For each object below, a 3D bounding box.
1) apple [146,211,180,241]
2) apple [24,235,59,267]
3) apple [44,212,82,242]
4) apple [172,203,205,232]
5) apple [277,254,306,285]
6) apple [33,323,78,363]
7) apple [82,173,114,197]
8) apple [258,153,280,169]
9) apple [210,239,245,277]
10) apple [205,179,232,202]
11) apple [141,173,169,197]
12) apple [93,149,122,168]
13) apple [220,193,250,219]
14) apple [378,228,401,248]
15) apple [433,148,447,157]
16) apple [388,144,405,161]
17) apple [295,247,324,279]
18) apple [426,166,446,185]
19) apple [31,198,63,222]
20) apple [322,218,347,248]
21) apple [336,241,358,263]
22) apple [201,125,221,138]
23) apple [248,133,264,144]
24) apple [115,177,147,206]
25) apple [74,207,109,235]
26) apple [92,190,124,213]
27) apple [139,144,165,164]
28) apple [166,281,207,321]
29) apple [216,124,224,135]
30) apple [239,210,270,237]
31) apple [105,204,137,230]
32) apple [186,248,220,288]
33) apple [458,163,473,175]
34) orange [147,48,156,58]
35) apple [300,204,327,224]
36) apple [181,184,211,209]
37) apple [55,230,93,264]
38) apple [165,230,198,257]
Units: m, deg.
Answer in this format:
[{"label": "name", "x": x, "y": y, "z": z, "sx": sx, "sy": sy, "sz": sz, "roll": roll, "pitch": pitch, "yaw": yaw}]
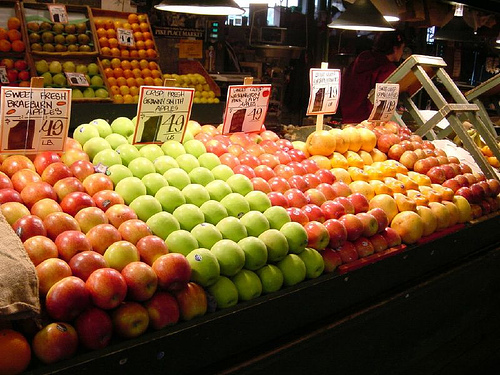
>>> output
[{"label": "apple", "x": -0.381, "y": 0.161, "z": 1.641, "sx": 0.137, "sy": 0.118, "sz": 0.117, "roll": 34, "pitch": -12, "yaw": 13}, {"label": "apple", "x": -0.760, "y": 0.223, "z": 1.293, "sx": 0.077, "sy": 0.092, "sz": 0.076, "roll": -9, "pitch": 14, "yaw": -22}, {"label": "apple", "x": -0.742, "y": 0.141, "z": 1.443, "sx": 0.120, "sy": 0.109, "sz": 0.110, "roll": 24, "pitch": -12, "yaw": 0}, {"label": "apple", "x": -0.296, "y": 0.140, "z": 1.701, "sx": 0.113, "sy": 0.137, "sz": 0.117, "roll": -7, "pitch": 15, "yaw": -13}, {"label": "apple", "x": 0.197, "y": 0.398, "z": 1.767, "sx": 0.101, "sy": 0.124, "sz": 0.108, "roll": -16, "pitch": 18, "yaw": 12}, {"label": "apple", "x": -0.650, "y": 0.516, "z": 1.180, "sx": 0.112, "sy": 0.116, "sz": 0.119, "roll": -17, "pitch": -24, "yaw": 41}, {"label": "apple", "x": -0.741, "y": 0.010, "z": 1.732, "sx": 0.160, "sy": 0.163, "sz": 0.160, "roll": 0, "pitch": -2, "yaw": -28}, {"label": "apple", "x": 0.114, "y": -0.167, "z": 2.196, "sx": 0.112, "sy": 0.098, "sz": 0.096, "roll": 21, "pitch": -18, "yaw": 14}, {"label": "apple", "x": -0.093, "y": 0.305, "z": 1.601, "sx": 0.115, "sy": 0.139, "sz": 0.116, "roll": -25, "pitch": -2, "yaw": 21}, {"label": "apple", "x": -0.165, "y": 0.013, "z": 1.903, "sx": 0.109, "sy": 0.139, "sz": 0.117, "roll": -2, "pitch": 13, "yaw": 16}, {"label": "apple", "x": -0.508, "y": -0.010, "z": 1.798, "sx": 0.092, "sy": 0.112, "sz": 0.095, "roll": 13, "pitch": 18, "yaw": 5}, {"label": "apple", "x": -0.743, "y": -0.152, "z": 1.829, "sx": 0.116, "sy": 0.104, "sz": 0.103, "roll": 10, "pitch": 31, "yaw": -10}, {"label": "apple", "x": -0.075, "y": 0.089, "z": 1.798, "sx": 0.118, "sy": 0.118, "sz": 0.121, "roll": -33, "pitch": -4, "yaw": 25}, {"label": "apple", "x": 0.850, "y": 0.313, "z": 2.234, "sx": 0.110, "sy": 0.139, "sz": 0.111, "roll": -5, "pitch": -12, "yaw": -17}, {"label": "apple", "x": 1.651, "y": -0.303, "z": 3.108, "sx": 0.097, "sy": 0.058, "sz": 0.077, "roll": 26, "pitch": 46, "yaw": 21}, {"label": "apple", "x": 1.153, "y": -0.279, "z": 2.860, "sx": 0.115, "sy": 0.115, "sz": 0.117, "roll": -34, "pitch": 15, "yaw": 6}, {"label": "apple", "x": 0.305, "y": 0.370, "z": 1.821, "sx": 0.140, "sy": 0.172, "sz": 0.146, "roll": -15, "pitch": -14, "yaw": 3}, {"label": "apple", "x": 1.478, "y": -0.096, "z": 2.800, "sx": 0.188, "sy": 0.087, "sz": 0.118, "roll": -6, "pitch": 32, "yaw": -26}, {"label": "apple", "x": -0.832, "y": 0.085, "z": 1.471, "sx": 0.108, "sy": 0.095, "sz": 0.092, "roll": -4, "pitch": -21, "yaw": -8}, {"label": "apple", "x": 0.455, "y": 0.244, "z": 1.883, "sx": 0.131, "sy": 0.160, "sz": 0.130, "roll": 7, "pitch": -12, "yaw": -26}, {"label": "apple", "x": 0.535, "y": 0.357, "z": 1.949, "sx": 0.106, "sy": 0.133, "sz": 0.107, "roll": -17, "pitch": -3, "yaw": -5}, {"label": "apple", "x": -0.266, "y": -0.395, "z": 2.368, "sx": 0.100, "sy": 0.060, "sz": 0.085, "roll": 31, "pitch": 13, "yaw": 22}, {"label": "apple", "x": 0.029, "y": -0.340, "z": 2.454, "sx": 0.076, "sy": 0.100, "sz": 0.086, "roll": -13, "pitch": -10, "yaw": -12}, {"label": "apple", "x": -0.568, "y": 0.010, "z": 1.771, "sx": 0.147, "sy": 0.136, "sz": 0.133, "roll": 4, "pitch": 18, "yaw": 29}, {"label": "apple", "x": -0.648, "y": 0.131, "z": 1.462, "sx": 0.096, "sy": 0.106, "sz": 0.103, "roll": 10, "pitch": -16, "yaw": -14}, {"label": "apple", "x": -0.646, "y": 0.053, "z": 1.601, "sx": 0.100, "sy": 0.097, "sz": 0.098, "roll": -13, "pitch": 67, "yaw": -23}, {"label": "apple", "x": -0.554, "y": -0.198, "z": 1.987, "sx": 0.114, "sy": 0.105, "sz": 0.103, "roll": 14, "pitch": 39, "yaw": 30}, {"label": "apple", "x": -0.269, "y": 0.474, "z": 1.493, "sx": 0.165, "sy": 0.169, "sz": 0.166, "roll": -14, "pitch": -13, "yaw": 34}, {"label": "apple", "x": -0.207, "y": -0.405, "z": 2.457, "sx": 0.027, "sy": 0.059, "sz": 0.057, "roll": 1, "pitch": 8, "yaw": -12}, {"label": "apple", "x": 0.027, "y": 0.173, "z": 1.797, "sx": 0.118, "sy": 0.115, "sz": 0.120, "roll": -32, "pitch": -9, "yaw": 19}, {"label": "apple", "x": -0.567, "y": 0.115, "z": 1.536, "sx": 0.117, "sy": 0.105, "sz": 0.101, "roll": 7, "pitch": -5, "yaw": 44}, {"label": "apple", "x": -0.203, "y": 0.339, "z": 1.485, "sx": 0.101, "sy": 0.101, "sz": 0.120, "roll": -16, "pitch": 53, "yaw": -41}, {"label": "apple", "x": 1.852, "y": -0.156, "z": 3.070, "sx": 0.068, "sy": 0.054, "sz": 0.088, "roll": 7, "pitch": 32, "yaw": -35}, {"label": "orange", "x": -1.521, "y": -2.064, "z": 5.493, "sx": 0.079, "sy": 0.116, "sz": 0.124, "roll": 24, "pitch": 32, "yaw": 28}, {"label": "apple", "x": 0.351, "y": 0.142, "z": 1.979, "sx": 0.102, "sy": 0.103, "sz": 0.119, "roll": -21, "pitch": 46, "yaw": -39}, {"label": "apple", "x": -0.282, "y": 0.041, "z": 1.828, "sx": 0.119, "sy": 0.137, "sz": 0.114, "roll": -10, "pitch": 19, "yaw": -39}, {"label": "apple", "x": -0.662, "y": 0.210, "z": 1.319, "sx": 0.116, "sy": 0.116, "sz": 0.115, "roll": -1, "pitch": 28, "yaw": -2}, {"label": "apple", "x": -0.300, "y": 0.244, "z": 1.571, "sx": 0.105, "sy": 0.126, "sz": 0.106, "roll": 13, "pitch": 20, "yaw": 41}]
